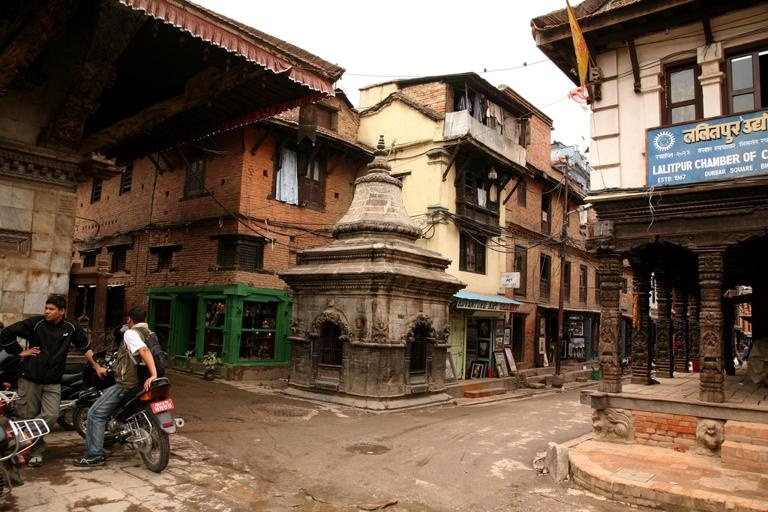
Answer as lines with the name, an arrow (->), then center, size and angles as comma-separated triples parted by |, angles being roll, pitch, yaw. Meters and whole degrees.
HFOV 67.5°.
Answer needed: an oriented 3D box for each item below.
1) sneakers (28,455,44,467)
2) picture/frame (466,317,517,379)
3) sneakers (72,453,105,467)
sneakers -> -6.121, 3.641, 10.186 | 0.223, 0.204, 0.319 | 7, -12, -28
picture/frame -> 4.464, 3.959, 24.960 | 2.594, 2.583, 1.285 | 7, -12, -29
sneakers -> -5.259, 3.694, 10.398 | 0.529, 0.212, 0.201 | 9, -6, -17
